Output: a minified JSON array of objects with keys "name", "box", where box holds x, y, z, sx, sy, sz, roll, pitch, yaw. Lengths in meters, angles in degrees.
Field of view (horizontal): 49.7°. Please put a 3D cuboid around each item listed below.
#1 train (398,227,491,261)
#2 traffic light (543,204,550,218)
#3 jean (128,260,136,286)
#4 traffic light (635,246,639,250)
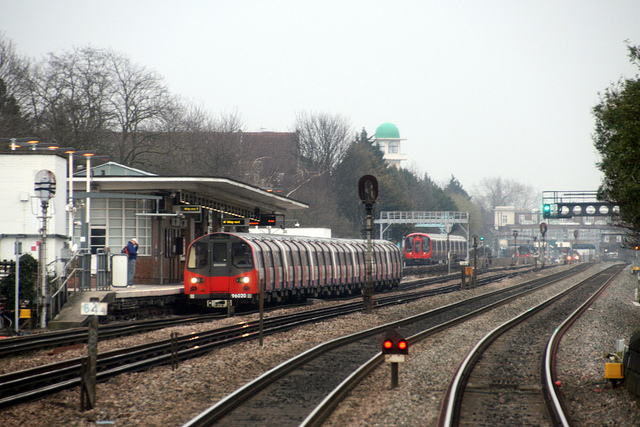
[{"name":"train","box":[14.954,3.860,84.955,3.727,4.812,26.001,-2,-3,21]},{"name":"traffic light","box":[20.799,-0.200,63.445,0.553,1.138,1.457,-2,-2,17]},{"name":"jean","box":[-8.262,2.629,30.319,0.263,1.124,0.959,-1,-2,-13]},{"name":"traffic light","box":[23.770,2.605,51.842,0.238,0.267,0.251,-1,-9,10]}]
